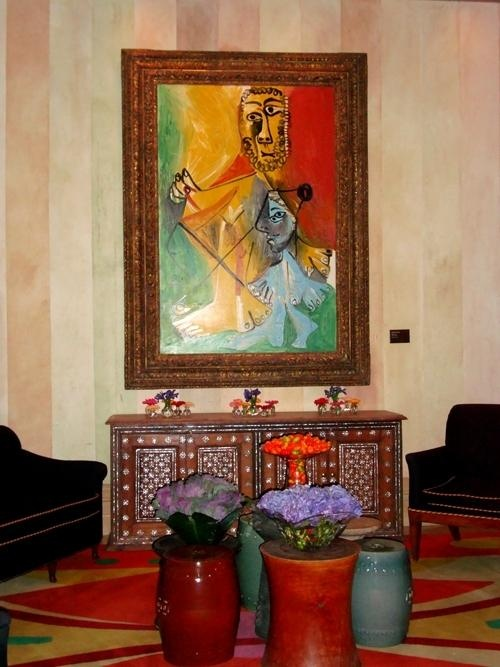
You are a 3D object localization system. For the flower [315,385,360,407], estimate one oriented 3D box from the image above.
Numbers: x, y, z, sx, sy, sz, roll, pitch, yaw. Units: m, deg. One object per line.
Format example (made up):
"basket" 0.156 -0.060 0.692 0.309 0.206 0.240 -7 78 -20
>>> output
"flower" 0.640 0.482 5.120 0.219 0.101 0.222 -3 -5 43

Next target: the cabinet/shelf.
"cabinet/shelf" 0.055 1.025 4.862 2.010 0.823 0.421 -2 -13 5

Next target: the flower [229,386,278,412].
"flower" 0.014 0.439 5.023 0.282 0.135 0.183 -1 4 2

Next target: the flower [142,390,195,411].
"flower" -0.585 0.497 5.009 0.358 0.171 0.166 2 -1 -1

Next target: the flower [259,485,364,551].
"flower" 0.242 0.673 2.677 0.324 0.163 0.284 -1 -3 -16

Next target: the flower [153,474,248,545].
"flower" -0.216 0.753 2.943 0.388 0.322 0.254 0 -2 -8

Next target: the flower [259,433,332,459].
"flower" 0.222 0.480 3.010 0.165 0.051 0.167 0 0 39

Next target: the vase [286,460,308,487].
"vase" 0.201 0.605 3.047 0.112 0.141 0.109 -2 -2 -1
